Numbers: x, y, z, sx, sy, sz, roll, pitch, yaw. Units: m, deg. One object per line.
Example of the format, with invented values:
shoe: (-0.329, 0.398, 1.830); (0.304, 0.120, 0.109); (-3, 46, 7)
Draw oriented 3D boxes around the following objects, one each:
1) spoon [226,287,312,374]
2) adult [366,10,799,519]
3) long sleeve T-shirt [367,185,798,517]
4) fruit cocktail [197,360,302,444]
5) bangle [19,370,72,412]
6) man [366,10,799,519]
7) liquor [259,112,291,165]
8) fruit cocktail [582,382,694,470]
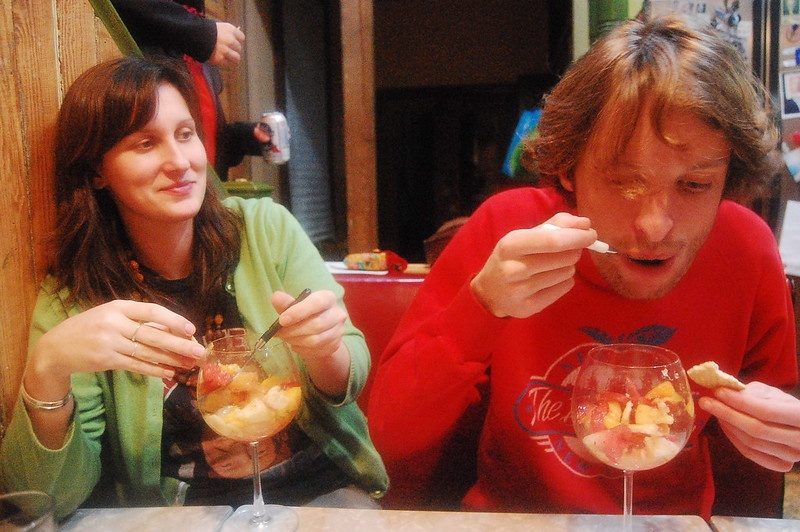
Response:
spoon: (-0.297, 0.151, 1.557); (0.019, 0.291, 0.020); (42, -6, 18)
adult: (0.407, 0.039, 1.621); (0.994, 1.157, 0.432); (-9, 17, -17)
long sleeve T-shirt: (0.437, 0.216, 1.566); (0.889, 0.775, 0.496); (0, -5, 13)
fruit cocktail: (-0.313, 0.273, 1.482); (0.185, 0.167, 0.180); (0, -1, -6)
bangle: (-0.768, 0.269, 1.500); (0.081, 0.035, 0.094); (2, 6, -10)
man: (0.407, 0.039, 1.621); (0.994, 1.157, 0.432); (-9, 17, -17)
liquor: (-0.331, -0.338, 1.823); (0.080, 0.129, 0.078); (-1, 16, 3)
fruit cocktail: (0.467, 0.301, 1.396); (0.187, 0.168, 0.188); (-1, -2, 1)
